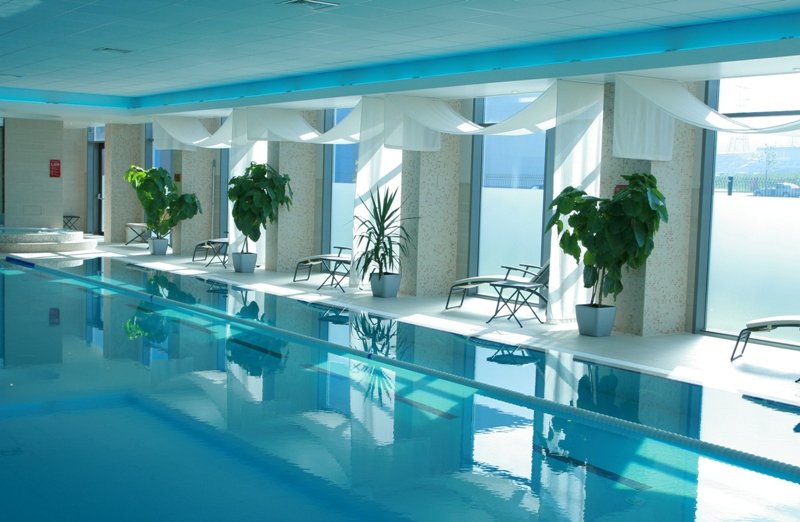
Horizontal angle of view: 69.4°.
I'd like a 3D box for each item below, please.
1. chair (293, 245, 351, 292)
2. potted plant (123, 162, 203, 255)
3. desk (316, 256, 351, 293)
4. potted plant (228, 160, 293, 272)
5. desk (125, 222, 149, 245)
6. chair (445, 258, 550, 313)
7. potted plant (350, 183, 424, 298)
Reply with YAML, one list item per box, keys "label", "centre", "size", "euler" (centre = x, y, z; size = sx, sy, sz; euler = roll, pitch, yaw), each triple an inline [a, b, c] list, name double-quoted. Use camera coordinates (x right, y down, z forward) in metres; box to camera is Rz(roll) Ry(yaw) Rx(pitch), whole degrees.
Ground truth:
- label: "chair"
  centre: [-1.472, 0.100, 12.486]
  size: [1.500, 0.877, 0.877]
  euler: [2, 0, -27]
- label: "potted plant"
  centre: [-6.119, -1.463, 16.916]
  size: [2.639, 2.438, 2.669]
  euler: [2, 3, 36]
- label: "desk"
  centre: [-1.334, 0.239, 12.160]
  size: [0.760, 0.668, 0.744]
  euler: [7, 5, 35]
- label: "potted plant"
  centre: [-3.198, -0.978, 13.091]
  size: [1.358, 2.495, 0.970]
  euler: [2, 9, 3]
- label: "desk"
  centre: [-8.825, -0.949, 19.229]
  size: [0.536, 0.526, 0.869]
  euler: [2, 0, -18]
- label: "chair"
  centre: [1.569, 0.364, 9.537]
  size: [1.806, 0.853, 0.848]
  euler: [0, 0, 11]
- label: "potted plant"
  centre: [-0.377, -0.400, 11.090]
  size: [1.060, 2.054, 0.836]
  euler: [7, 11, 32]
